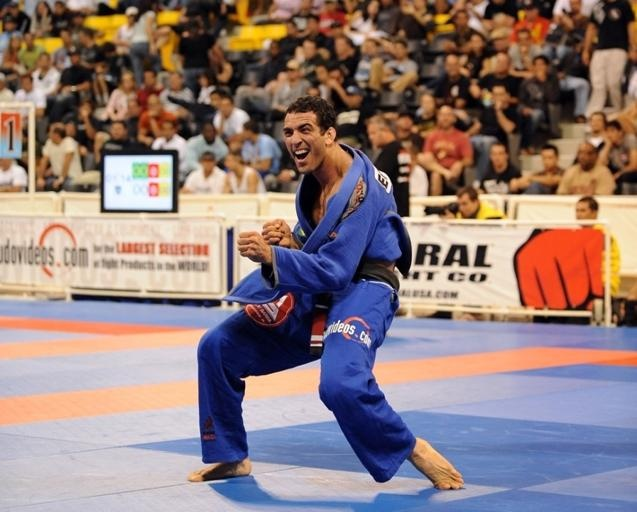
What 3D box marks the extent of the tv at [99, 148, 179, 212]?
[{"bbox_3d":[-2.656,-1.129,19.617,1.025,0.712,0.098,1,3,11],"label":"tv"}]
